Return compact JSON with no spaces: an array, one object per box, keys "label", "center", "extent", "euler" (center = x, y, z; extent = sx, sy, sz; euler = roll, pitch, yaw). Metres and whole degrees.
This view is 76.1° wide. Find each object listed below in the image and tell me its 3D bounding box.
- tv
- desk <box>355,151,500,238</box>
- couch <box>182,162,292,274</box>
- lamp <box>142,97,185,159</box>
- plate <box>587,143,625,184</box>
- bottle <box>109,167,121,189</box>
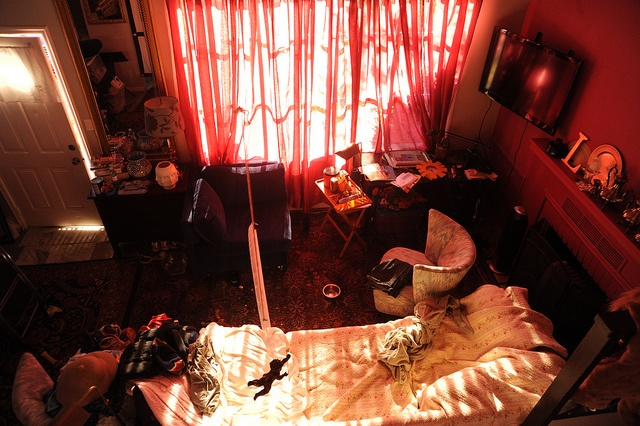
[{"label":"tv","center":[2.399,-1.505,4.579],"extent":[0.131,0.860,1.213],"euler":[-5,40,-26]},{"label":"desk","center":[1.380,-0.578,5.694],"extent":[1.736,1.212,0.952],"euler":[1,34,3]},{"label":"couch","center":[-1.022,0.145,5.436],"extent":[1.367,1.071,1.304],"euler":[-4,65,-4]},{"label":"lamp","center":[-1.881,-1.193,4.892],"extent":[0.449,0.482,0.458],"euler":[-10,25,-21]},{"label":"plate","center":[2.770,-0.480,3.997],"extent":[0.168,0.313,0.337],"euler":[-9,35,-18]},{"label":"bottle","center":[-2.534,-0.443,5.059],"extent":[0.101,0.170,0.249],"euler":[-15,37,-25]}]
